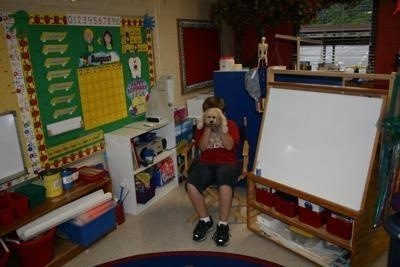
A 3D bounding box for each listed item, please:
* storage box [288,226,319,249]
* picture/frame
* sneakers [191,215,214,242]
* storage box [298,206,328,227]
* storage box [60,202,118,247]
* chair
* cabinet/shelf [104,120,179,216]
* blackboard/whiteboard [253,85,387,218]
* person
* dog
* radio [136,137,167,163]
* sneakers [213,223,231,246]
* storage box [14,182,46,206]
[{"bbox_3d":[1.080,1.091,3.004,0.224,0.160,0.222,-11,16,-43],"label":"storage box"},{"bbox_3d":[0.054,-1.467,5.377,0.038,1.121,1.485,8,20,30],"label":"picture/frame"},{"bbox_3d":[0.033,1.107,3.314,0.123,0.146,0.329,1,9,29],"label":"sneakers"},{"bbox_3d":[1.113,0.806,2.864,0.194,0.124,0.198,3,11,23],"label":"storage box"},{"bbox_3d":[-1.318,1.058,3.331,0.463,0.291,0.473,8,21,35],"label":"storage box"},{"bbox_3d":[0.232,0.575,3.950,0.908,1.400,1.037,1,4,22],"label":"chair"},{"bbox_3d":[-0.847,0.472,3.839,0.483,0.985,0.981,3,20,20],"label":"cabinet/shelf"},{"bbox_3d":[1.217,0.187,2.800,1.217,1.078,0.131,20,10,40],"label":"blackboard/whiteboard"},{"bbox_3d":[0.142,0.386,3.424,0.633,1.454,1.065,2,20,8],"label":"person"},{"bbox_3d":[0.155,-0.053,3.563,0.474,0.568,0.325,3,9,20],"label":"dog"},{"bbox_3d":[-0.701,0.216,3.956,0.376,0.149,0.270,-14,19,-36],"label":"radio"},{"bbox_3d":[0.243,1.131,3.201,0.159,0.193,0.175,-1,20,1],"label":"sneakers"},{"bbox_3d":[-1.836,0.612,3.038,0.251,0.164,0.201,8,14,29],"label":"storage box"}]
